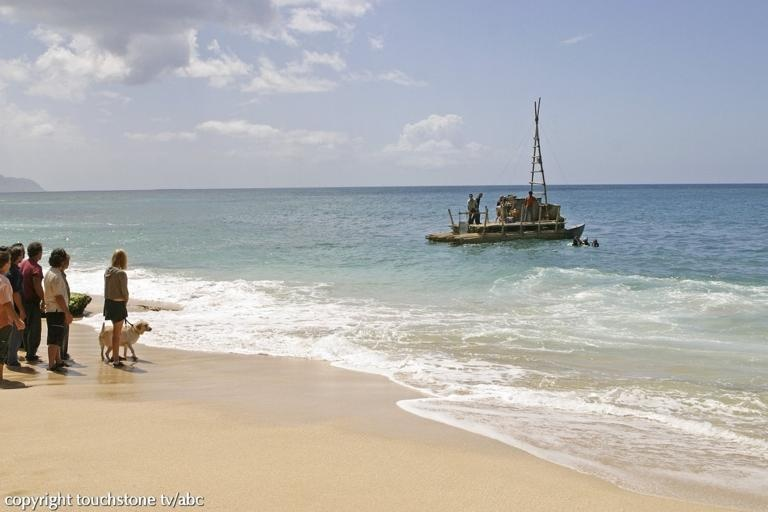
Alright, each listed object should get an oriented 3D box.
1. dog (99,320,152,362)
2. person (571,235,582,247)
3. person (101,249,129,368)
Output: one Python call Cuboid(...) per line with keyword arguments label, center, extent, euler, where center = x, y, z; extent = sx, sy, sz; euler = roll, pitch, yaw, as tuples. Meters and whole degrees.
Cuboid(label="dog", center=(-5.366, 1.742, 12.950), extent=(0.400, 0.681, 1.134), euler=(-10, -9, 36))
Cuboid(label="person", center=(10.730, -0.810, 35.048), extent=(0.410, 0.390, 0.962), euler=(-5, 9, 18))
Cuboid(label="person", center=(-5.298, 1.035, 12.398), extent=(0.442, 2.365, 0.575), euler=(-2, 13, -22))
